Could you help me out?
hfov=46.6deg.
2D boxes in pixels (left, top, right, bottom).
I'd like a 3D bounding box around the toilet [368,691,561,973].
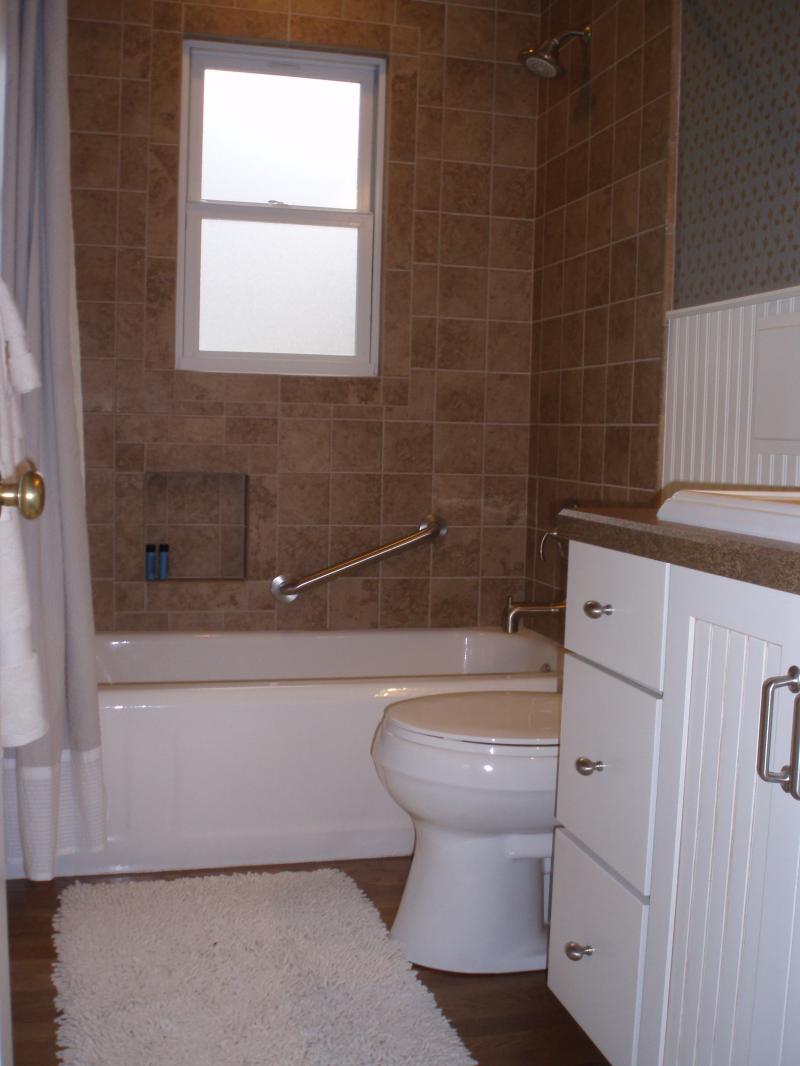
[{"bbox_3d":[0.141,0.576,1.806,0.409,0.405,0.393,6,-8,-20],"label":"toilet"}]
